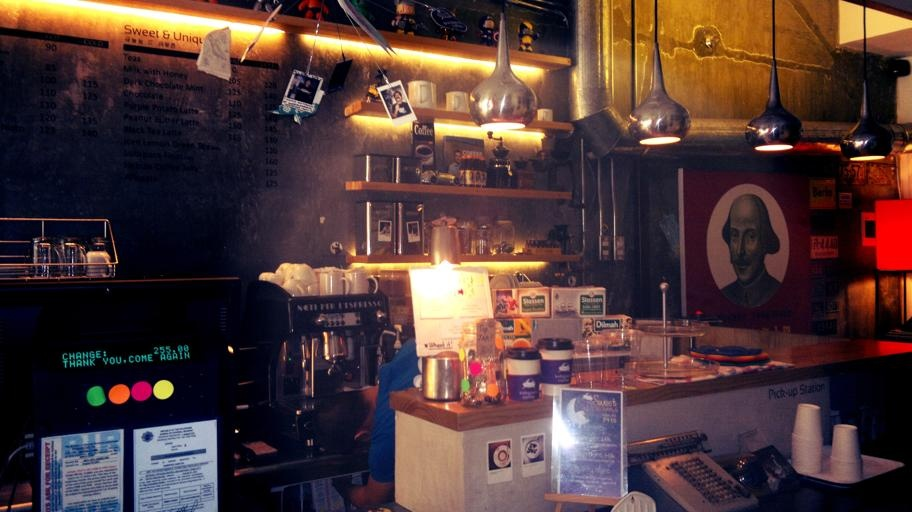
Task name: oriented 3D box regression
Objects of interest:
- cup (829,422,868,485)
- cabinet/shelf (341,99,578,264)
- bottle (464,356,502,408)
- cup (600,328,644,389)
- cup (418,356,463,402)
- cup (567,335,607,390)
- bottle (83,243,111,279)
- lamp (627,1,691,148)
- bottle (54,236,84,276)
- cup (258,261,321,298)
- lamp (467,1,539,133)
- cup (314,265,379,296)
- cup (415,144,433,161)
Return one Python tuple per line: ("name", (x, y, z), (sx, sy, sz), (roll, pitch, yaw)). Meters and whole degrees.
("cup", (2.567, 1.284, 4.849), (0.267, 0.391, 0.141), (-3, -1, -2))
("cabinet/shelf", (-0.018, -0.689, 6.984), (2.115, 1.174, 0.386), (-2, -2, -24))
("bottle", (0.154, 0.759, 4.537), (0.228, 0.246, 0.079), (-3, -1, 0))
("cup", (1.097, 0.664, 4.862), (0.220, 0.347, 0.338), (-3, -1, 14))
("cup", (-0.096, 0.741, 4.723), (0.319, 0.325, 0.300), (2, 3, 0))
("cup", (0.840, 0.697, 4.812), (0.282, 0.394, 0.272), (-1, -2, 0))
("bottle", (-2.415, 0.011, 4.953), (0.169, 0.255, 0.613), (-2, -1, -25))
("lamp", (1.447, -1.349, 5.406), (0.415, 0.954, 0.422), (-4, -2, 44))
("bottle", (-2.601, 0.000, 4.963), (0.168, 0.268, 0.354), (-2, -1, -28))
("cup", (-1.364, 0.186, 5.982), (0.375, 0.170, 0.289), (-1, -2, 39))
("lamp", (0.299, -1.326, 5.103), (0.437, 0.702, 0.347), (-3, -1, 10))
("cup", (-0.918, 0.199, 6.105), (0.406, 0.243, 0.243), (0, -2, 16))
("cup", (-0.318, -0.980, 6.925), (0.172, 0.086, 0.163), (2, 16, 0))
